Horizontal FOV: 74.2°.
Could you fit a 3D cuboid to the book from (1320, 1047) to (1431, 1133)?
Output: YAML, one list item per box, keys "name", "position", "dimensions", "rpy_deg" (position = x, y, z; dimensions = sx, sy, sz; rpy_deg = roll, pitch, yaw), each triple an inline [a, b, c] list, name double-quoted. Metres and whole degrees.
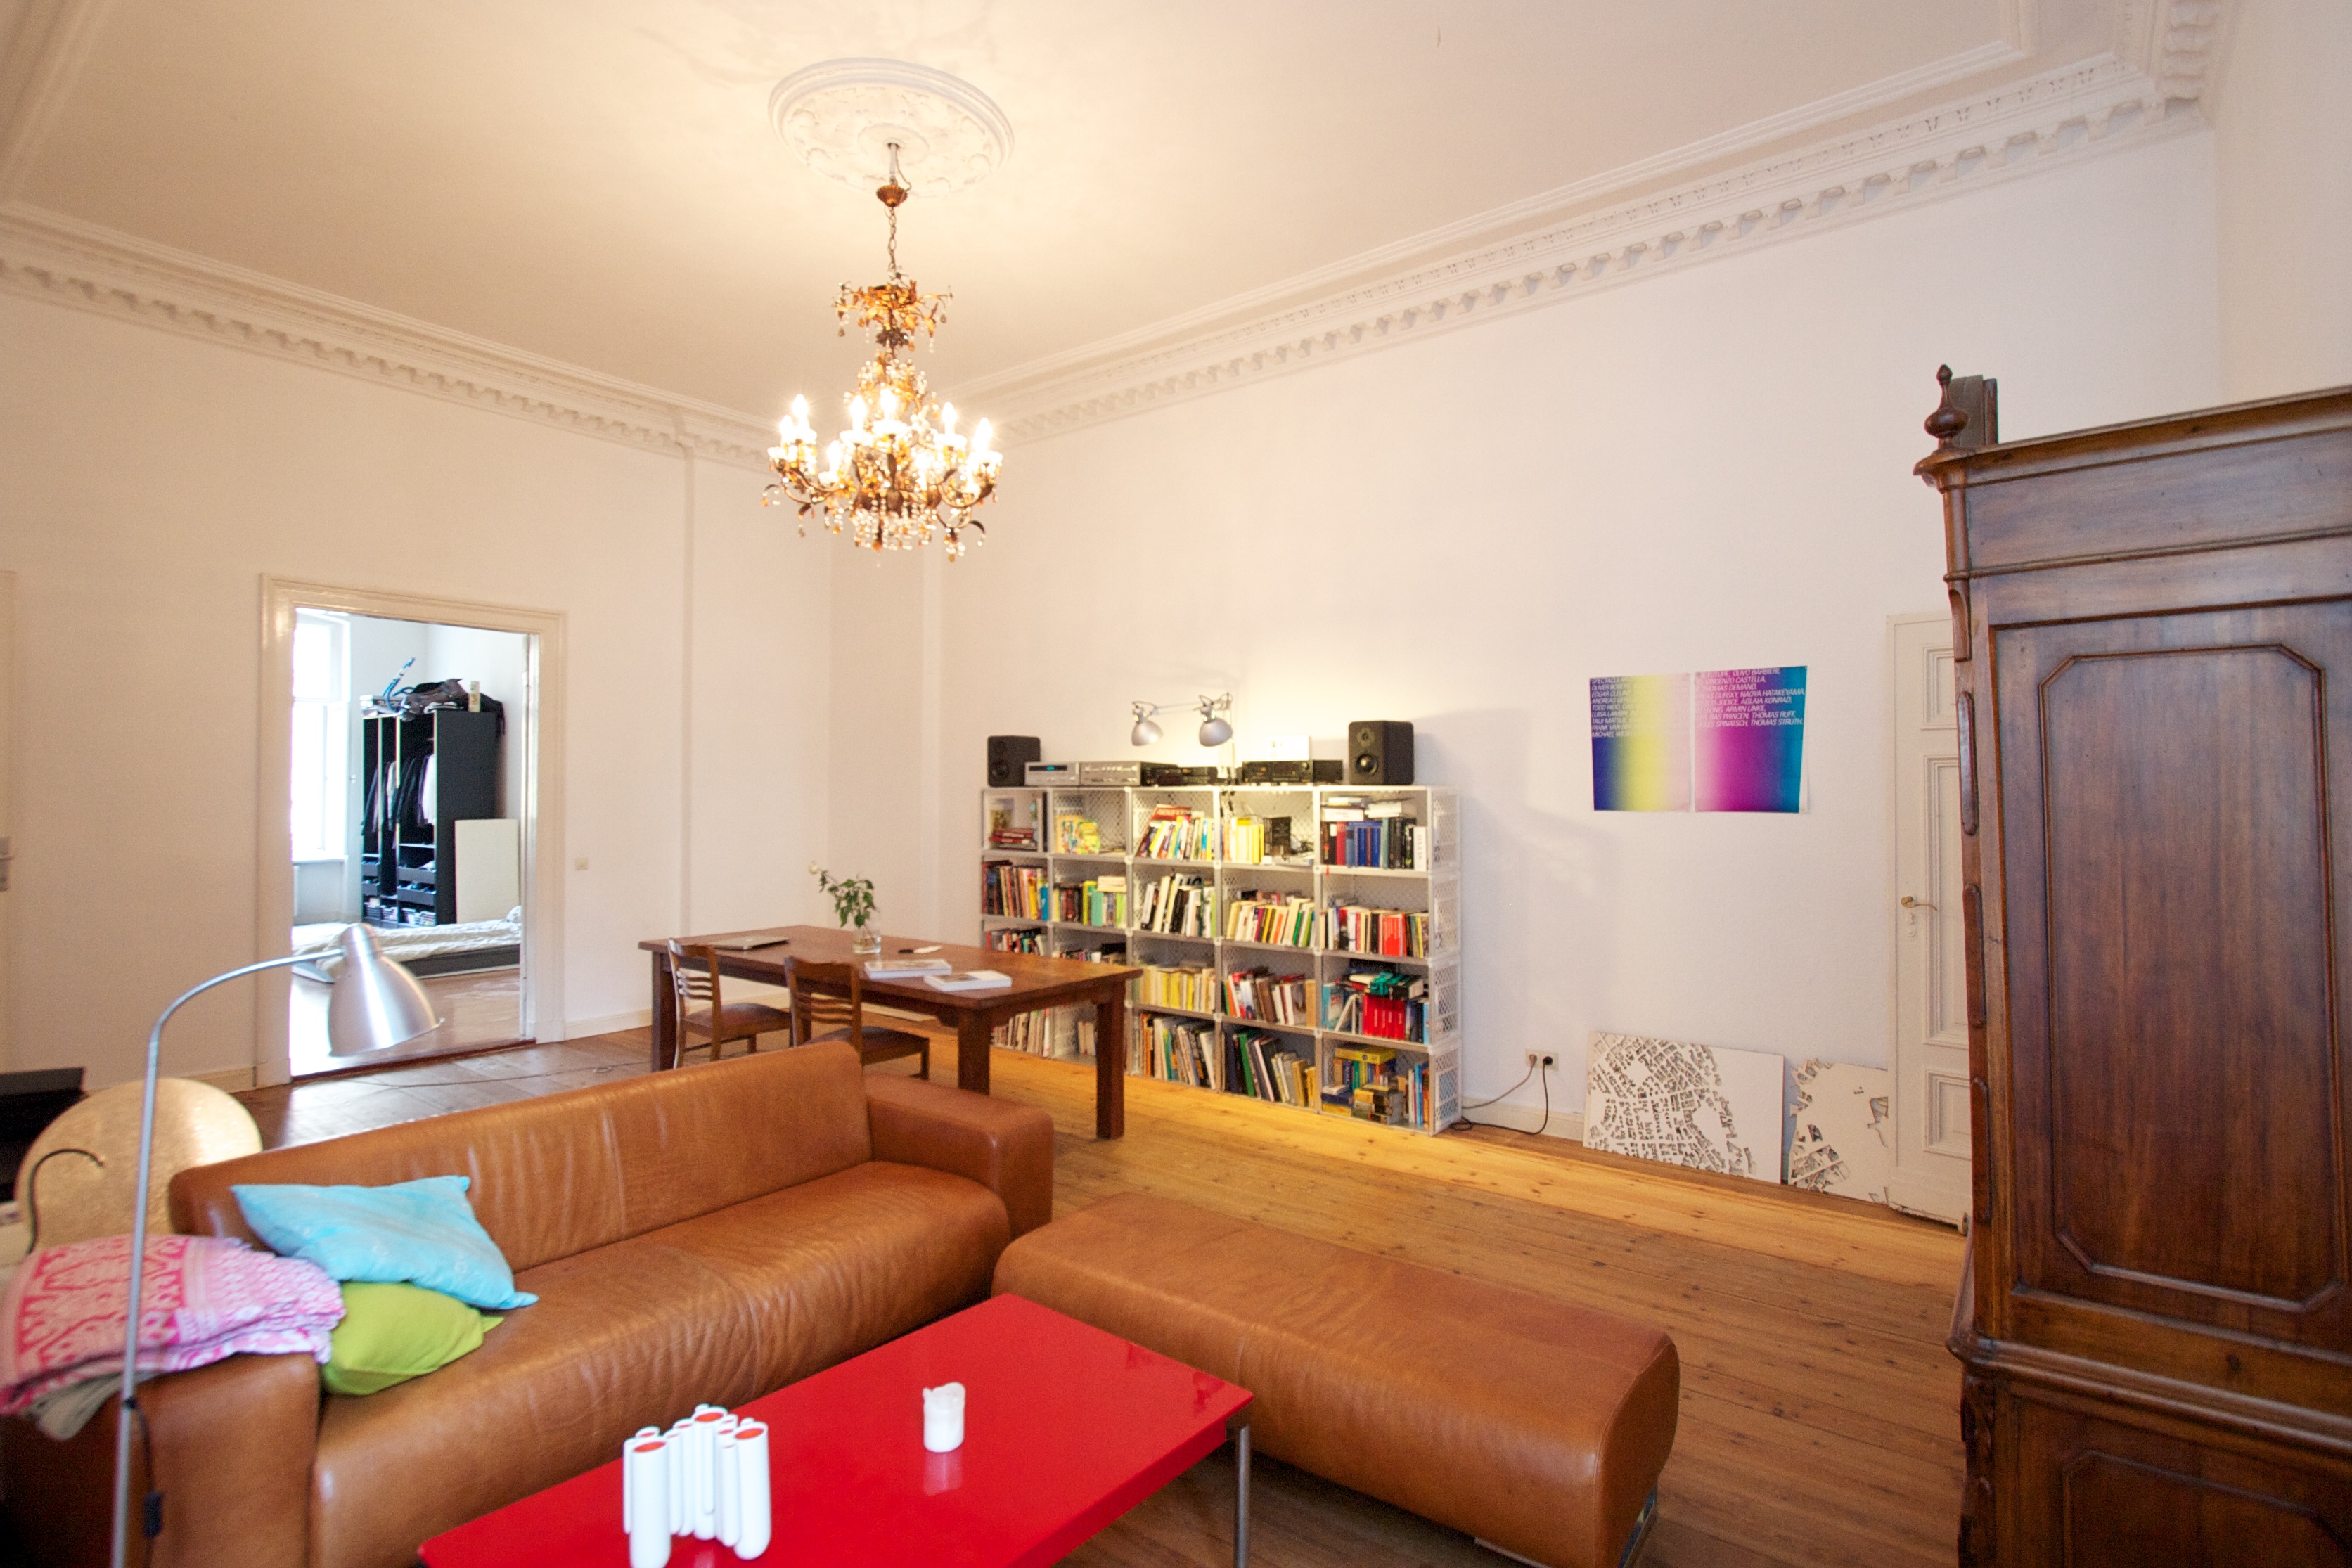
- name: "book"
  position: [1.089, 1.577, 8.119]
  dimensions: [0.630, 0.348, 0.190]
  rpy_deg: [1, 1, 36]

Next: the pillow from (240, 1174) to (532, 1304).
- name: "pillow"
  position: [-2.543, 1.477, 5.051]
  dimensions: [0.544, 0.158, 0.569]
  rpy_deg: [20, 4, -26]

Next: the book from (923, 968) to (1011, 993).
- name: "book"
  position: [-0.992, 0.943, 7.432]
  dimensions: [0.381, 0.035, 0.407]
  rpy_deg: [0, 2, -9]

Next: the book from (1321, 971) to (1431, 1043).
- name: "book"
  position: [1.048, 1.138, 8.010]
  dimensions: [0.511, 0.299, 0.355]
  rpy_deg: [8, 2, 10]

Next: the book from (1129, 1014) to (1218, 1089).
- name: "book"
  position: [0.011, 1.519, 8.760]
  dimensions: [0.357, 0.385, 0.123]
  rpy_deg: [3, 9, 34]

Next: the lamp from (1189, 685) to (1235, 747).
- name: "lamp"
  position: [0.227, -0.365, 8.900]
  dimensions: [0.225, 0.334, 0.419]
  rpy_deg: [0, 1, 0]

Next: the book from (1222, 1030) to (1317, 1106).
- name: "book"
  position: [0.520, 1.536, 8.442]
  dimensions: [0.580, 0.354, 0.122]
  rpy_deg: [2, 2, 42]

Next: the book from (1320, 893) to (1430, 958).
- name: "book"
  position: [1.033, 0.767, 8.012]
  dimensions: [0.617, 0.229, 0.097]
  rpy_deg: [2, 2, 40]

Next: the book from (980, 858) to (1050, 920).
- name: "book"
  position: [-0.945, 0.621, 9.293]
  dimensions: [0.352, 0.340, 0.136]
  rpy_deg: [-2, -4, 41]

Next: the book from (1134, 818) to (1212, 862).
- name: "book"
  position: [-0.002, 0.311, 8.727]
  dimensions: [0.391, 0.396, 0.215]
  rpy_deg: [1, 1, 39]

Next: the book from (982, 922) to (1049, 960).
- name: "book"
  position: [-0.962, 0.944, 9.311]
  dimensions: [0.291, 0.163, 0.284]
  rpy_deg: [5, -9, 19]

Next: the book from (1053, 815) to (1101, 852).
- name: "book"
  position: [-0.586, 0.308, 9.122]
  dimensions: [0.257, 0.262, 0.191]
  rpy_deg: [2, 3, 41]

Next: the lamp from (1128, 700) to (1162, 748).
- name: "lamp"
  position: [-0.175, -0.351, 9.085]
  dimensions: [0.194, 0.241, 0.244]
  rpy_deg: [-3, -8, -7]
